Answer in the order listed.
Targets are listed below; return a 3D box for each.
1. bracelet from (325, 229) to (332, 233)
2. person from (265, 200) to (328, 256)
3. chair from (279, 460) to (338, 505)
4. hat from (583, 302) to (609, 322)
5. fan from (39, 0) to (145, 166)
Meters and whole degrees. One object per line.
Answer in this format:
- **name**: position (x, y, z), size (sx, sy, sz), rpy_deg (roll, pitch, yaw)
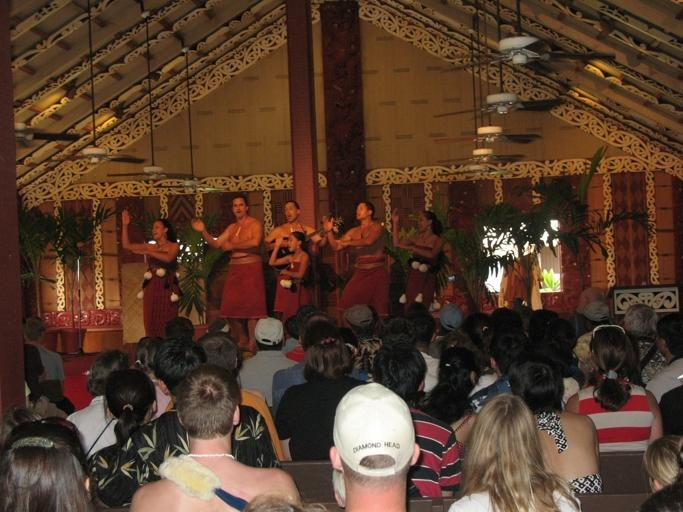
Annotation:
- **bracelet**: position (-0.224, -0.373, 13.282), size (0.075, 0.075, 0.077), rpy_deg (-2, -5, 14)
- **person**: position (-0.775, -0.391, 13.180), size (1.203, 0.817, 0.354), rpy_deg (-2, -3, 19)
- **chair**: position (-0.256, 1.647, 6.542), size (0.378, 0.287, 0.134), rpy_deg (-2, -4, -3)
- **hat**: position (2.692, 0.598, 9.556), size (0.188, 0.163, 0.232), rpy_deg (-1, -2, -1)
- **fan**: position (-3.994, -2.349, 14.429), size (1.440, 2.391, 5.453), rpy_deg (-1, -4, -13)
